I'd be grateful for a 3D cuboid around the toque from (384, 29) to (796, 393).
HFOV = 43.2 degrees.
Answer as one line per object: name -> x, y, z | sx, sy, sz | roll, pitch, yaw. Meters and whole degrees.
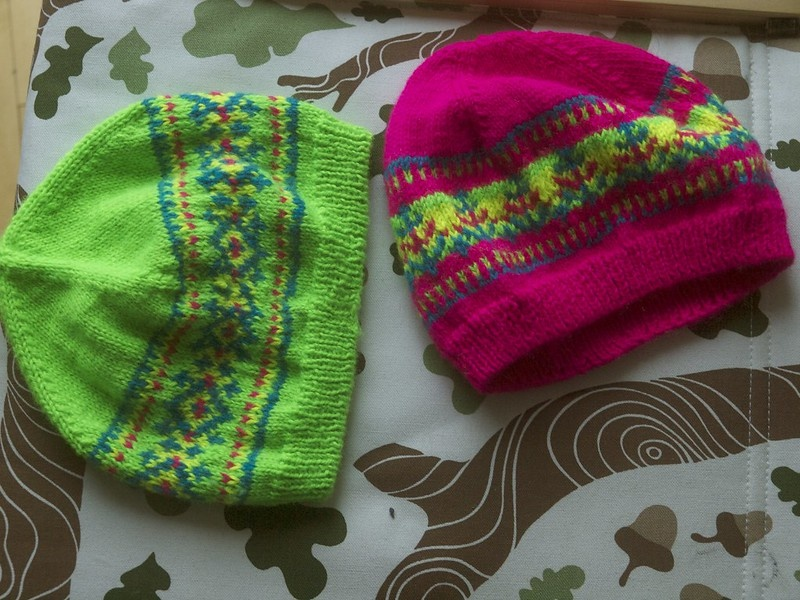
toque -> 0.293, -0.184, 1.754 | 0.627, 0.398, 0.522 | -15, 51, -10
